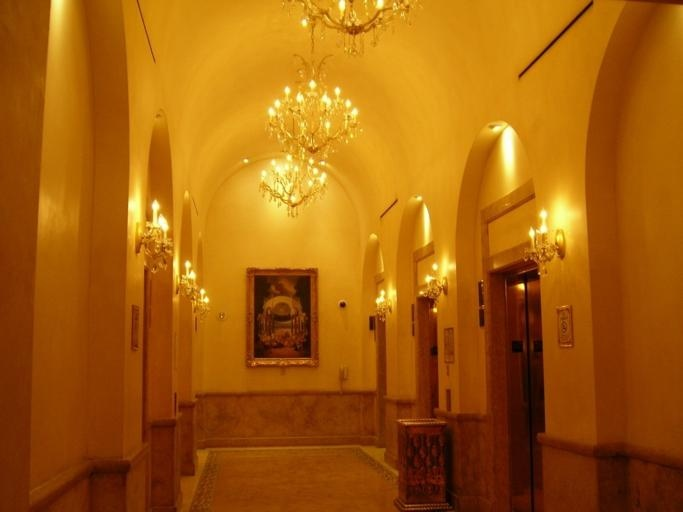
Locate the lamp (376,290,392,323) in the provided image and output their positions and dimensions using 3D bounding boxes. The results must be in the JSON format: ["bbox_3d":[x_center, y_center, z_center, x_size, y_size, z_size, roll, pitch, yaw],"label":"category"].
[{"bbox_3d":[0.901,1.108,12.372,0.187,0.595,0.729,3,-13,-15],"label":"lamp"}]

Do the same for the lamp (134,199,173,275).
[{"bbox_3d":[-2.039,-0.213,6.239,0.332,0.808,0.496,4,-4,-31],"label":"lamp"}]

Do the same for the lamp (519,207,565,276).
[{"bbox_3d":[2.102,-0.147,5.962,0.346,0.694,0.304,-4,-9,36],"label":"lamp"}]

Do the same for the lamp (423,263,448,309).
[{"bbox_3d":[1.515,0.482,9.054,0.380,0.701,0.310,-9,11,-35],"label":"lamp"}]
